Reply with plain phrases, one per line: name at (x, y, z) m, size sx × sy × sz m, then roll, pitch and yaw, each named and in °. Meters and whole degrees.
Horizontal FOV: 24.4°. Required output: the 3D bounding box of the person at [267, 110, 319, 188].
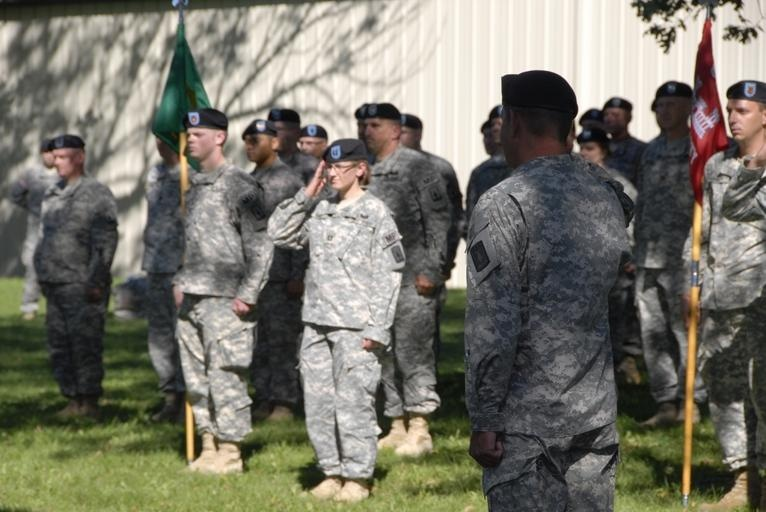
person at (-1.435, -1.730, 28.165) m, size 0.778 × 1.182 × 1.647 m, roll -8°, pitch 9°, yaw -24°

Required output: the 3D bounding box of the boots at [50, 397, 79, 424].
boots at (-4.775, 2.339, 26.720) m, size 0.441 × 0.398 × 0.202 m, roll 5°, pitch -16°, yaw 8°

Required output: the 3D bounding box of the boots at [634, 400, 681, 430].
boots at (4.191, 2.379, 26.500) m, size 0.738 × 0.409 × 0.395 m, roll 1°, pitch -5°, yaw -15°

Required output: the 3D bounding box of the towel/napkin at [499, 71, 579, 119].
towel/napkin at (1.935, -2.024, 21.988) m, size 0.601 × 0.289 × 0.806 m, roll 10°, pitch 8°, yaw 36°

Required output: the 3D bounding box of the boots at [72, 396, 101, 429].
boots at (-4.400, 2.368, 26.724) m, size 0.416 × 0.406 × 0.377 m, roll 5°, pitch -11°, yaw -41°

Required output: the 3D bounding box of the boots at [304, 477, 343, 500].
boots at (-0.778, 3.252, 24.566) m, size 0.461 × 0.173 × 0.250 m, roll -10°, pitch 20°, yaw -36°

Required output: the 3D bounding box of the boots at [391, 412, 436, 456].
boots at (0.494, 2.594, 25.858) m, size 0.409 × 0.639 × 0.899 m, roll -11°, pitch -1°, yaw 22°
